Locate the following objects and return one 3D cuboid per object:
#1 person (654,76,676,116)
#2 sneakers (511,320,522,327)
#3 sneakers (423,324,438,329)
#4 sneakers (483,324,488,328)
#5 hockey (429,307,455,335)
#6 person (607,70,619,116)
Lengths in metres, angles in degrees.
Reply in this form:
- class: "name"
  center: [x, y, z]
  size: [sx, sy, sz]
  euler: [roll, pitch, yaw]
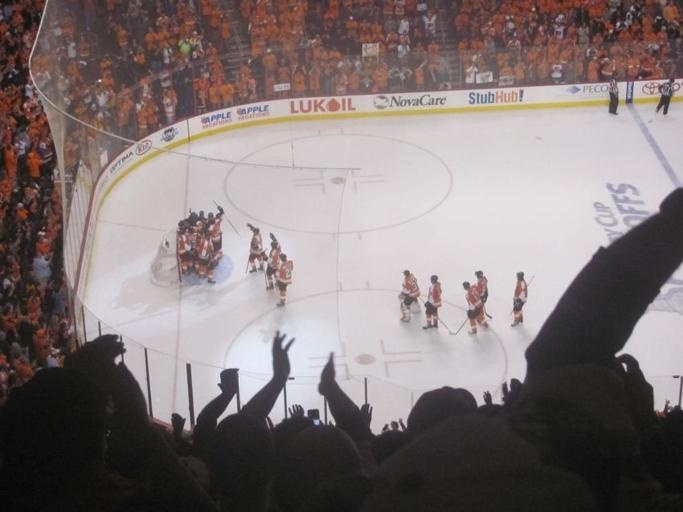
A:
- class: "person"
  center: [9.747, -4.867, 27.193]
  size: [0.499, 1.062, 1.003]
  euler: [2, 15, 20]
- class: "sneakers"
  center: [3.572, 1.385, 18.398]
  size: [0.263, 0.193, 0.097]
  euler: [2, 19, 18]
- class: "sneakers"
  center: [1.809, 1.455, 18.396]
  size: [0.279, 0.122, 0.097]
  euler: [1, 11, -2]
- class: "sneakers"
  center: [2.943, 1.426, 18.430]
  size: [0.073, 0.126, 0.076]
  euler: [-1, 0, -10]
- class: "hockey"
  center: [2.074, 1.438, 18.527]
  size: [0.474, 0.687, 0.197]
  euler: [-18, -4, -41]
- class: "person"
  center: [8.345, -5.039, 27.620]
  size: [0.301, 1.249, 0.919]
  euler: [1, 15, 17]
